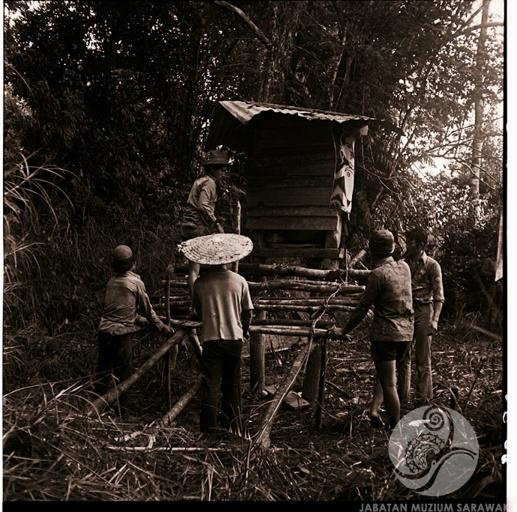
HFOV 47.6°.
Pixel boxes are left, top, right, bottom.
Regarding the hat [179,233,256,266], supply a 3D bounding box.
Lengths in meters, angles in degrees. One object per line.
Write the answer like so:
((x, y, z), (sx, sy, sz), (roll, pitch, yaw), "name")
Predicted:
((-0.456, -0.072, 6.542), (0.480, 0.140, 0.494), (7, 37, 10), "hat")

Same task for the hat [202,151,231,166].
((-0.619, -1.413, 8.569), (0.270, 0.141, 0.269), (2, 5, -9), "hat")

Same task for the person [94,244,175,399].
((-1.615, 0.795, 7.316), (0.728, 1.517, 0.545), (3, 1, -17), "person")

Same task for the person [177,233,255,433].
((-0.458, 0.867, 6.601), (0.613, 1.976, 0.641), (4, 1, 41), "person")

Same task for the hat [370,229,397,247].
((1.689, -0.240, 7.858), (0.296, 0.191, 0.473), (8, 15, 3), "hat")

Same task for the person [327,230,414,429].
((1.487, 0.861, 7.015), (0.697, 2.296, 1.004), (4, 1, 16), "person")
